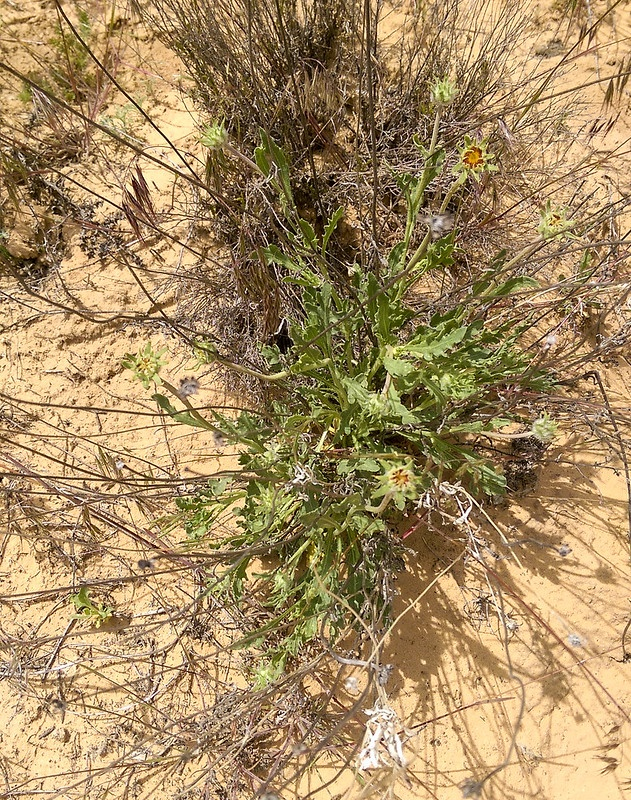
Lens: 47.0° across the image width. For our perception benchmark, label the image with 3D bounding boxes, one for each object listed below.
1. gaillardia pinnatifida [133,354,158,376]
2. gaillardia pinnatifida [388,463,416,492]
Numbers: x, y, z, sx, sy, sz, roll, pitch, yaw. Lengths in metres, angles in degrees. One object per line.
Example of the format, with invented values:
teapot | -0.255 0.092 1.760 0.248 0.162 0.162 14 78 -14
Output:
gaillardia pinnatifida | -0.521 -0.108 2.249 0.073 0.067 0.031 -24 7 4
gaillardia pinnatifida | 0.223 0.196 1.808 0.071 0.061 0.029 5 -8 -9
